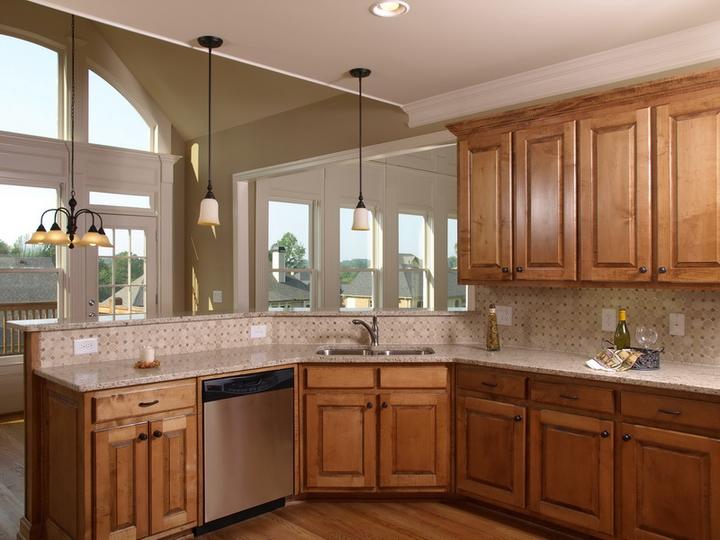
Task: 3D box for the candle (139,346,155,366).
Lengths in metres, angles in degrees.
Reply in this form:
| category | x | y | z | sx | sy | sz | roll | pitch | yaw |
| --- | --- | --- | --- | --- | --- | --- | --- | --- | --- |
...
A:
| category | x | y | z | sx | sy | sz | roll | pitch | yaw |
| --- | --- | --- | --- | --- | --- | --- | --- | --- | --- |
| candle | -1.422 | 0.580 | 4.075 | 0.101 | 0.110 | 0.106 | 2 | 3 | 5 |

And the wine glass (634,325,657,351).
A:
| category | x | y | z | sx | sy | sz | roll | pitch | yaw |
| --- | --- | --- | --- | --- | --- | --- | --- | --- | --- |
| wine glass | 1.946 | 0.469 | 4.120 | 0.151 | 0.164 | 0.280 | 3 | 8 | 24 |

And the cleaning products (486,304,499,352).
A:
| category | x | y | z | sx | sy | sz | roll | pitch | yaw |
| --- | --- | --- | --- | --- | --- | --- | --- | --- | --- |
| cleaning products | 1.040 | 0.445 | 4.747 | 0.102 | 0.334 | 0.379 | 2 | 7 | 13 |

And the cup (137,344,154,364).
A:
| category | x | y | z | sx | sy | sz | roll | pitch | yaw |
| --- | --- | --- | --- | --- | --- | --- | --- | --- | --- |
| cup | -1.473 | 0.571 | 4.105 | 0.106 | 0.117 | 0.112 | 1 | 2 | 0 |

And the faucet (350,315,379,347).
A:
| category | x | y | z | sx | sy | sz | roll | pitch | yaw |
| --- | --- | --- | --- | --- | --- | --- | --- | --- | --- |
| faucet | 0.036 | 0.477 | 4.779 | 0.220 | 0.243 | 0.249 | 0 | 7 | 0 |

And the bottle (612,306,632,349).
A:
| category | x | y | z | sx | sy | sz | roll | pitch | yaw |
| --- | --- | --- | --- | --- | --- | --- | --- | --- | --- |
| bottle | 1.812 | 0.405 | 4.180 | 0.104 | 0.279 | 0.360 | 3 | 8 | 24 |
